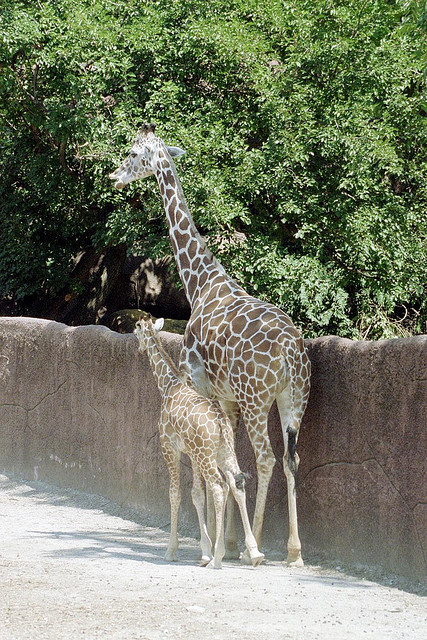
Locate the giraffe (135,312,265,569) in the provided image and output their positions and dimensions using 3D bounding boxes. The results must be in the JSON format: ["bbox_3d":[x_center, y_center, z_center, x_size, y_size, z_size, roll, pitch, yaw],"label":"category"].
[{"bbox_3d":[-0.075,0.952,8.434,0.635,1.591,1.344,0,7,-12],"label":"giraffe"}]
